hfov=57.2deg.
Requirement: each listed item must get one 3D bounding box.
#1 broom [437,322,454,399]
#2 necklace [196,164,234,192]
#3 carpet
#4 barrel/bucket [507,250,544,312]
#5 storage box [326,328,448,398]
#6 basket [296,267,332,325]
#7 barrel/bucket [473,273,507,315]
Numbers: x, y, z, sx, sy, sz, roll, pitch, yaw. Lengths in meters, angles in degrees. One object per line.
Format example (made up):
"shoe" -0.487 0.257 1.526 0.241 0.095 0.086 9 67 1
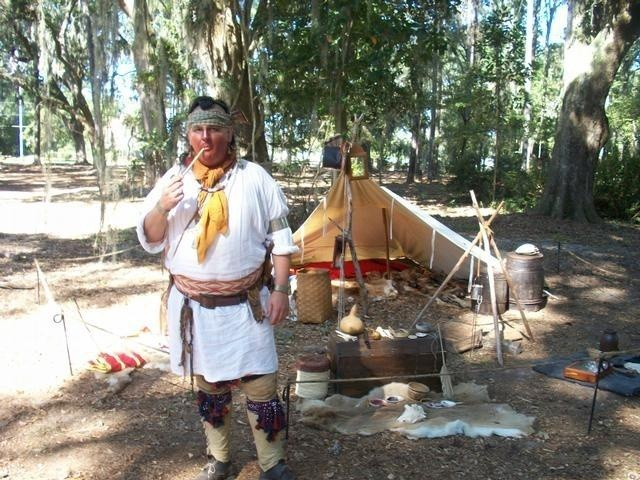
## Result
"broom" 1.218 1.244 5.788 0.134 0.508 0.054 10 -28 -25
"necklace" -0.812 -0.454 4.323 0.325 0.118 0.171 4 -28 -5
"carpet" 0.891 1.573 5.447 2.133 0.261 0.693 -1 8 0
"barrel/bucket" 2.652 0.548 7.993 0.678 0.726 0.645 1 6 0
"storage box" 0.644 1.198 5.737 1.128 0.556 0.511 0 20 -5
"basket" -0.129 0.695 7.408 0.482 0.629 0.444 2 15 -9
"barrel/bucket" 2.229 0.699 7.672 0.448 0.548 0.491 -2 9 0
